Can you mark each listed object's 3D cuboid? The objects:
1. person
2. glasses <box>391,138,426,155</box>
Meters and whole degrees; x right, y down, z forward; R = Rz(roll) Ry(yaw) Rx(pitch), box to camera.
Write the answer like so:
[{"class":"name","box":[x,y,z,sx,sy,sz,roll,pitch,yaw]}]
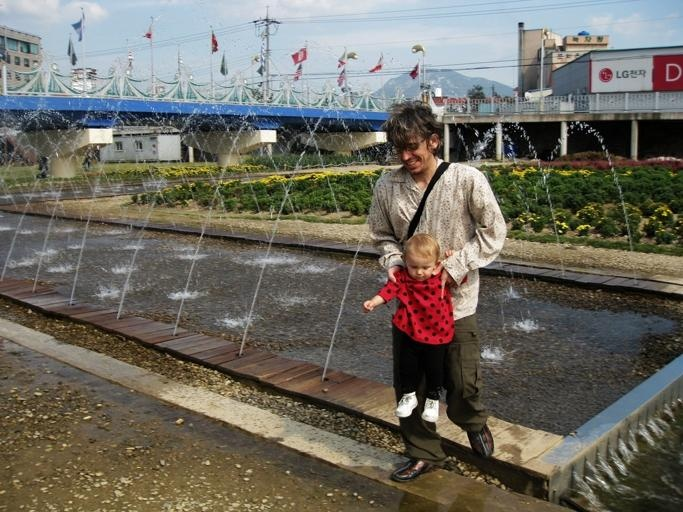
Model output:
[{"class":"person","box":[0.454,0.176,2.534,0.751,1.818,0.388,6,14,16]},{"class":"glasses","box":[0.294,-0.502,2.305,0.076,0.029,0.096,-1,0,44]}]
